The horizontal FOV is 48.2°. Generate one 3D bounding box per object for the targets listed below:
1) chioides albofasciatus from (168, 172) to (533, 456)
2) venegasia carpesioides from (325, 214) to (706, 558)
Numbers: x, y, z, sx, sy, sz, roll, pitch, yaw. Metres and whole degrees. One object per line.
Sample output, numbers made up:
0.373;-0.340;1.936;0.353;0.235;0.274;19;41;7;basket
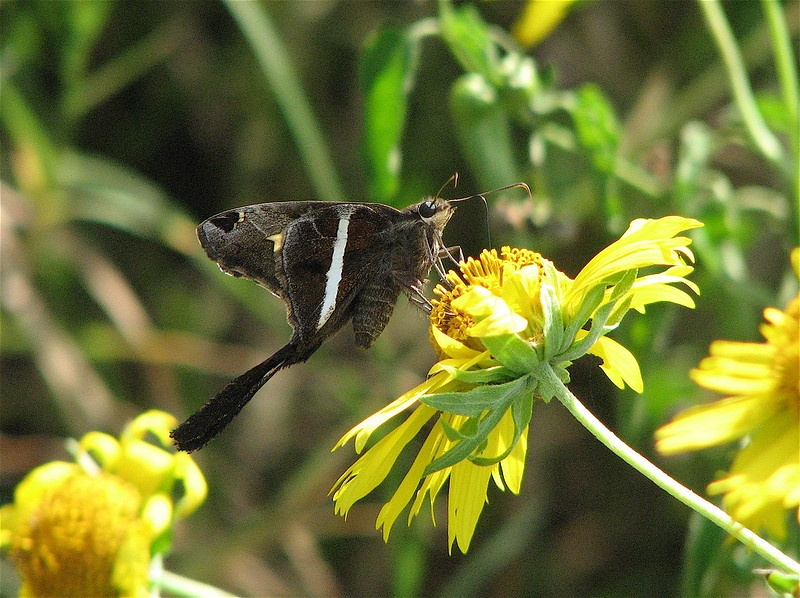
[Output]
-0.029;-0.064;1.283;0.398;0.171;0.395;-9;0;9;chioides albofasciatus
0.133;0.114;1.038;0.352;0.462;0.241;10;12;14;venegasia carpesioides
